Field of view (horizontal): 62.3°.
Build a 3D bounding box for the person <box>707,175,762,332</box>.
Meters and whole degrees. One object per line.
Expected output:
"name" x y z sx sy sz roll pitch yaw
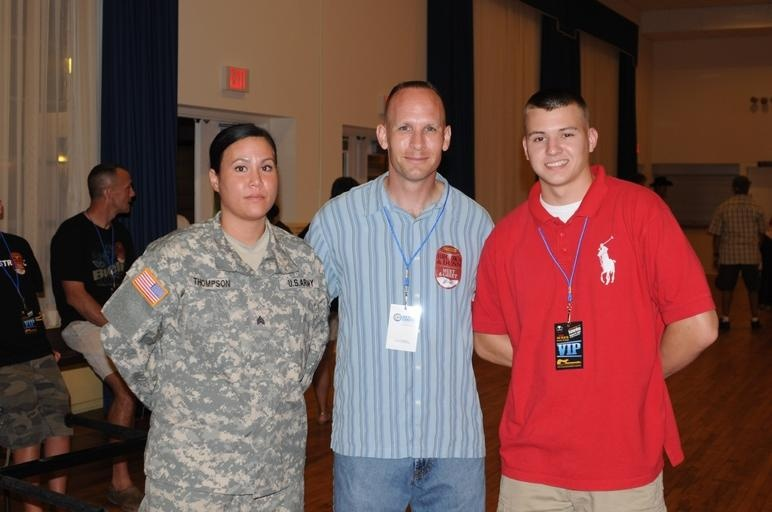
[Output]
"person" 5.233 -0.062 9.471 0.726 2.235 0.499 0 6 2
